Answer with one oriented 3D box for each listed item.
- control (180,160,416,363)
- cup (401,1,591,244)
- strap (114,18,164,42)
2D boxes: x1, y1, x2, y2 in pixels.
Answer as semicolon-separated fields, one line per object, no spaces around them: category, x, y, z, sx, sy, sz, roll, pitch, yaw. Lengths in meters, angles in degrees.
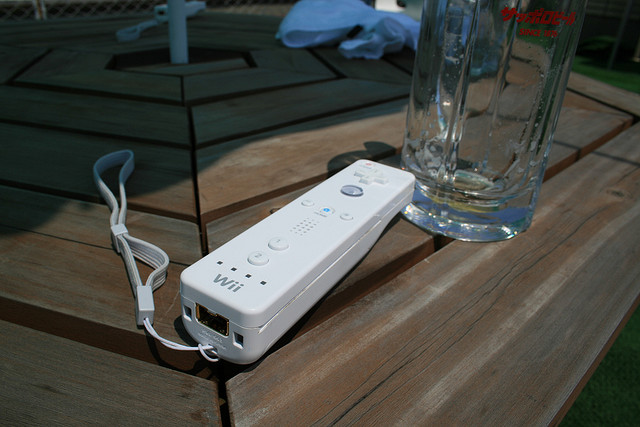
control;-0.008;0.041;0.657;0.115;0.108;0.375;25;38;27
cup;0.230;-0.133;0.691;0.207;0.297;0.210;0;40;0
strap;-0.520;-0.541;1.435;0.073;0.034;0.170;18;36;33
